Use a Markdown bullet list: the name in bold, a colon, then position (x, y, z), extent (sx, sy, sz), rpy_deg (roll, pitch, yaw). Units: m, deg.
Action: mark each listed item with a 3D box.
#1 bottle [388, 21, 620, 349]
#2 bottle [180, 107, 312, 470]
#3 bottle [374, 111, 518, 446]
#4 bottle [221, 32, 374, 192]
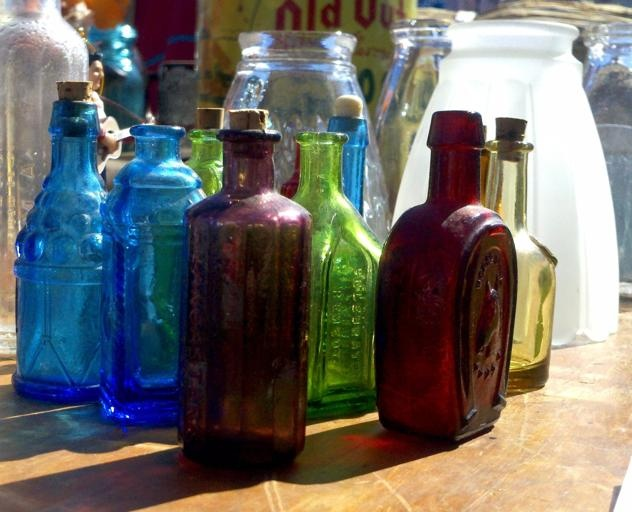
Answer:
- **bottle**: position (0.258, -0.090, 1.123), extent (0.368, 0.469, 0.360), rpy_deg (2, 3, 0)
- **bottle**: position (-0.058, 0.037, 0.678), extent (0.102, 0.253, 0.072), rpy_deg (0, 11, 6)
- **bottle**: position (0.115, 0.018, 0.741), extent (0.121, 0.285, 0.081), rpy_deg (2, 11, 13)
- **bottle**: position (-0.027, -0.149, 1.004), extent (0.170, 0.203, 0.178), rpy_deg (2, 10, 4)
